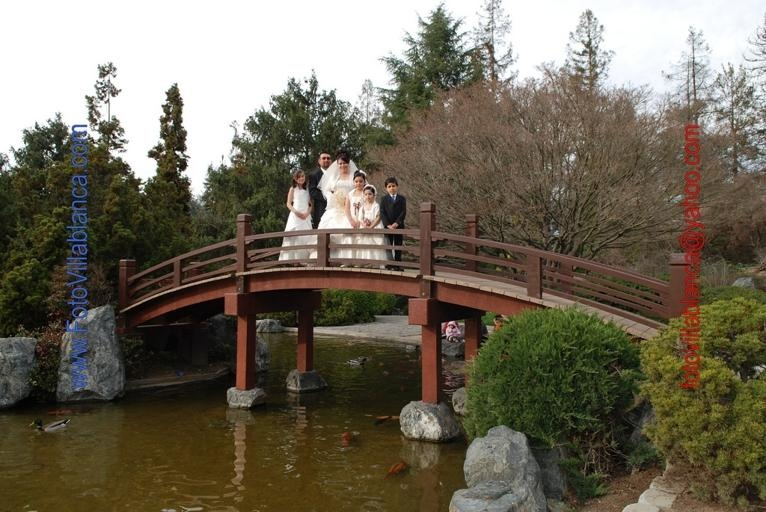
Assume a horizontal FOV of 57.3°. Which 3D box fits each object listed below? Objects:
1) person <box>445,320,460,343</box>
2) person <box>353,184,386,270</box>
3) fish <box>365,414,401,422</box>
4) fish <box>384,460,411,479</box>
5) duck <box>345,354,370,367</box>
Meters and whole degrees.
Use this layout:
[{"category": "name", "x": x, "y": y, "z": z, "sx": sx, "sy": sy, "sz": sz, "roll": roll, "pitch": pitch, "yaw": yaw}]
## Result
[{"category": "person", "x": 2.884, "y": 3.062, "z": 28.754, "sx": 0.865, "sy": 0.570, "sz": 1.246, "roll": -3, "pitch": 18, "yaw": 10}, {"category": "person", "x": -0.319, "y": -0.835, "z": 19.807, "sx": 0.821, "sy": 2.273, "sz": 1.429, "roll": -2, "pitch": 9, "yaw": -3}, {"category": "fish", "x": -0.013, "y": 4.456, "z": 19.478, "sx": 0.878, "sy": 0.106, "sz": 0.671, "roll": -1, "pitch": 10, "yaw": -1}, {"category": "fish", "x": 0.340, "y": 4.978, "z": 16.670, "sx": 0.422, "sy": 0.199, "sz": 0.846, "roll": 8, "pitch": 14, "yaw": 43}, {"category": "duck", "x": -0.926, "y": 3.799, "z": 25.671, "sx": 0.821, "sy": 0.268, "sz": 1.325, "roll": -1, "pitch": 10, "yaw": 2}]
